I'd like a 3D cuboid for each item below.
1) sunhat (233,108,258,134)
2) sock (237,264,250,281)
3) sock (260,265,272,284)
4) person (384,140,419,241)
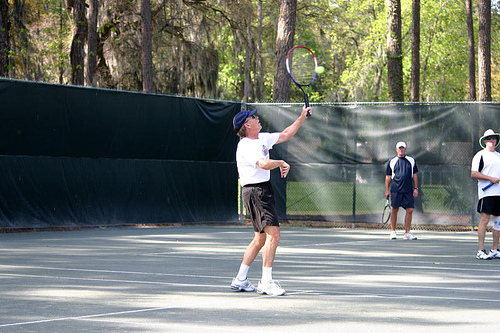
[{"bbox_3d":[-0.137,-0.927,17.685,0.412,0.485,0.705,-1,6,-1],"label":"sunhat"},{"bbox_3d":[-0.161,2.186,17.463,0.236,0.362,0.210,-1,6,-2],"label":"sock"},{"bbox_3d":[0.308,2.221,17.350,0.228,0.360,0.318,-1,6,-4],"label":"sock"},{"bbox_3d":[4.450,0.701,24.858,0.905,2.804,1.030,0,6,9],"label":"person"}]
